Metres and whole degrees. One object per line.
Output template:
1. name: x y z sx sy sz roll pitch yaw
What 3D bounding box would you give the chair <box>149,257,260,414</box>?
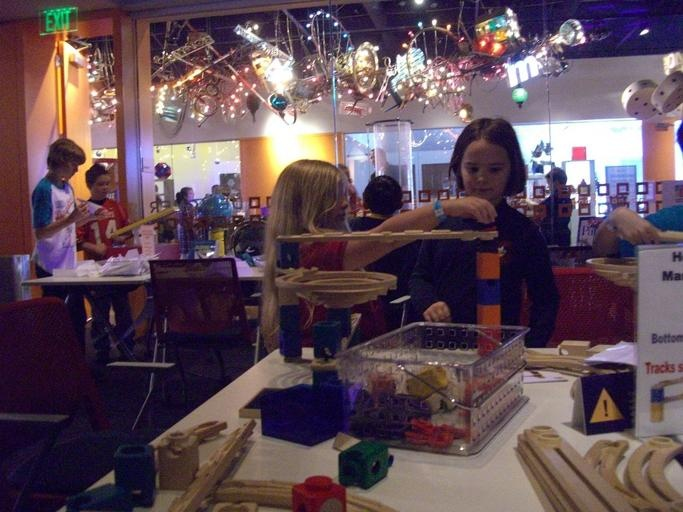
1. chair: -0.689 0.366 3.509 0.660 1.132 0.780 -2 4 -3

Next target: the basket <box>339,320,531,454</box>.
1. basket: 0.236 0.250 1.340 0.257 0.128 0.374 2 6 30

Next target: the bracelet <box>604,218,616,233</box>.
1. bracelet: 0.884 -0.097 1.882 0.020 0.052 0.038 1 26 -16
